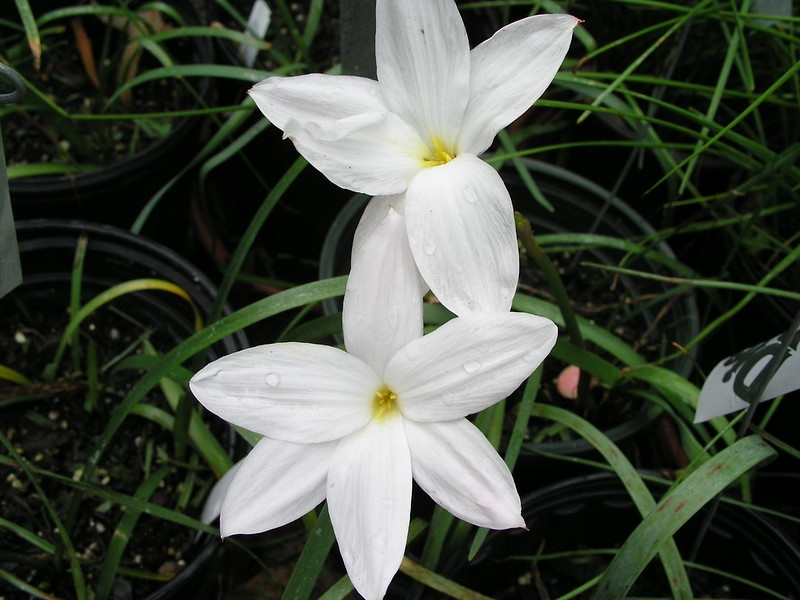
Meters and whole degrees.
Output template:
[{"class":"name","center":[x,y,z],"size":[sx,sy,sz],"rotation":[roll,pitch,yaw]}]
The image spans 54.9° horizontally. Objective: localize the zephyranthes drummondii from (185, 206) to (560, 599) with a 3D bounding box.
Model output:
[{"class":"zephyranthes drummondii","center":[-0.040,0.141,1.096],"size":[0.487,0.347,0.435],"rotation":[21,49,22]}]
